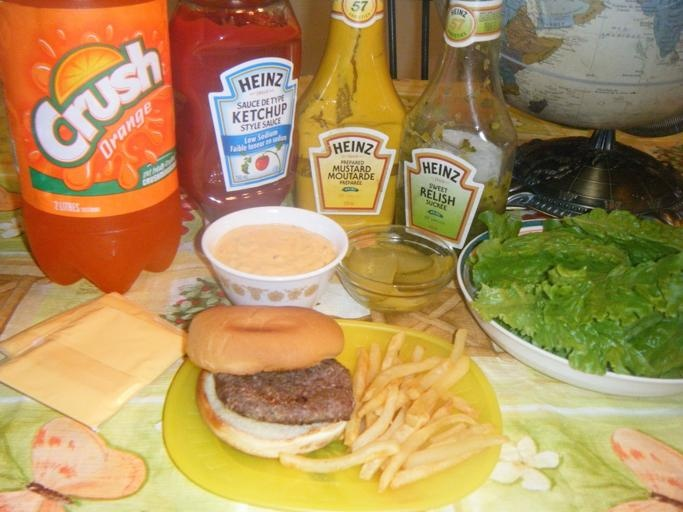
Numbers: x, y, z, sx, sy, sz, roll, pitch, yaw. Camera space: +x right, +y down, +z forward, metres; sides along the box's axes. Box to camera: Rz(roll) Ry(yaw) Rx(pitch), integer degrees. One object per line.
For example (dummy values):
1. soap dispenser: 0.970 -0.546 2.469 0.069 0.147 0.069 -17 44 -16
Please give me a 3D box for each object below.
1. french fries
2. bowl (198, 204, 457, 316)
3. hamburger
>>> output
1. french fries: 0.090 0.270 0.999 0.037 0.473 0.283 35 61 -21
2. bowl: -0.024 0.013 1.168 0.468 0.101 0.249 -1 37 -10
3. hamburger: -0.144 0.217 0.955 0.284 0.118 0.240 8 32 -7
